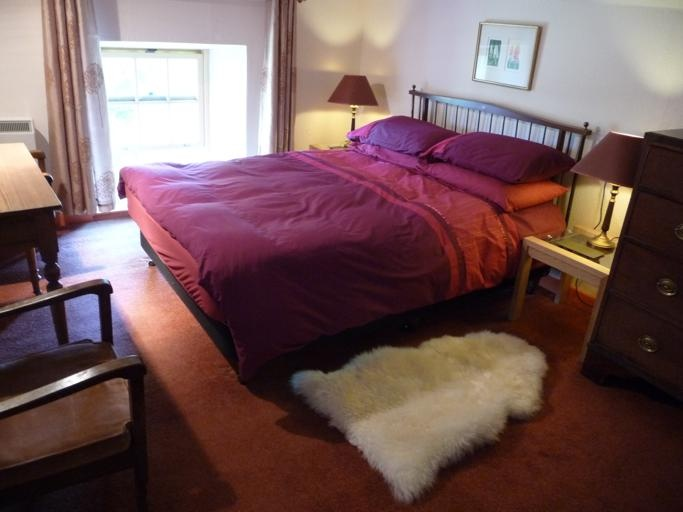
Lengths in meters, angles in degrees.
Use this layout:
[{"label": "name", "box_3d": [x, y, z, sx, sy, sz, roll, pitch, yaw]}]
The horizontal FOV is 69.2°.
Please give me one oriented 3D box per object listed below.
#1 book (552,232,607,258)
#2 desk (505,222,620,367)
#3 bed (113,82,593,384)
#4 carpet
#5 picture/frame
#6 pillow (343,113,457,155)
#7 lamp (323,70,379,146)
[{"label": "book", "box_3d": [1.512, -0.067, 3.139, 0.185, 0.042, 0.193, -19, 38, -34]}, {"label": "desk", "box_3d": [1.448, 0.209, 3.270, 0.684, 0.696, 0.658, -6, 30, -36]}, {"label": "bed", "box_3d": [0.004, -0.388, 3.941, 2.748, 1.123, 2.371, -12, 26, -29]}, {"label": "carpet", "box_3d": [0.490, 0.748, 2.757, 1.345, 0.224, 0.893, -13, 28, -30]}, {"label": "picture/frame", "box_3d": [1.309, -1.582, 3.896, 0.072, 0.481, 0.549, -11, 34, -37]}, {"label": "pillow", "box_3d": [0.533, -1.041, 4.251, 0.507, 0.160, 0.621, -19, 33, -29]}, {"label": "lamp", "box_3d": [0.122, -1.480, 5.045, 0.431, 0.700, 0.412, 11, 31, 15]}]
